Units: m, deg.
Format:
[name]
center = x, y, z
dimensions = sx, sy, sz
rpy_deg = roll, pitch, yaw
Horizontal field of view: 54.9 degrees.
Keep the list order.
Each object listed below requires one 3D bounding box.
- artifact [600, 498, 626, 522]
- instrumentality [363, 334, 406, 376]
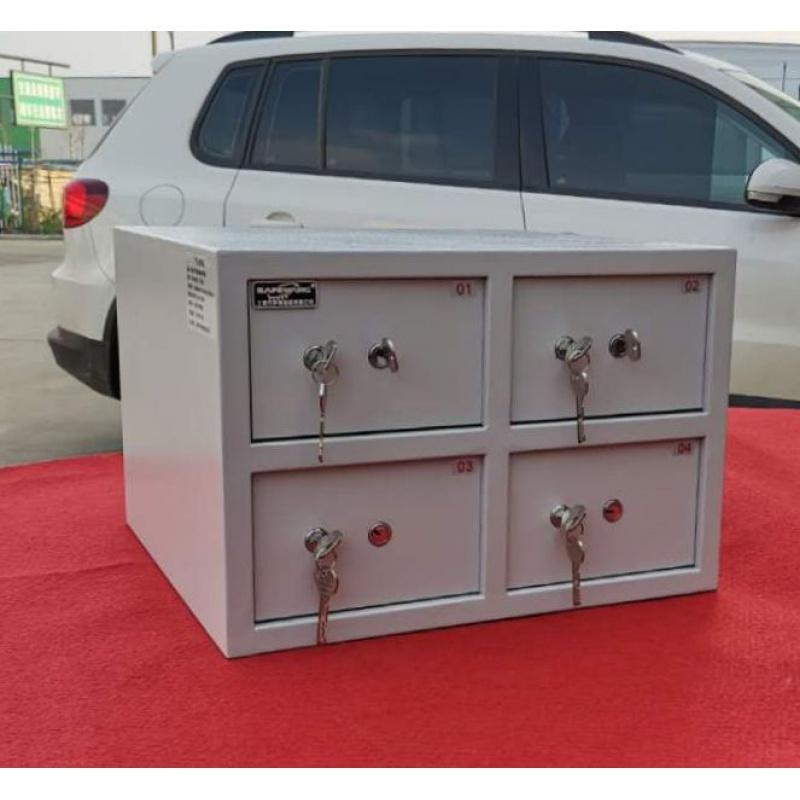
[artifact]
center = 0.338, 0.178, 1.218
dimensions = 0.032, 0.033, 0.009
rpy_deg = 41, -1, -15
[instrumentality]
center = -0.022, -0.059, 1.043
dimensions = 0.045, 0.054, 0.032
rpy_deg = 17, 22, 37
